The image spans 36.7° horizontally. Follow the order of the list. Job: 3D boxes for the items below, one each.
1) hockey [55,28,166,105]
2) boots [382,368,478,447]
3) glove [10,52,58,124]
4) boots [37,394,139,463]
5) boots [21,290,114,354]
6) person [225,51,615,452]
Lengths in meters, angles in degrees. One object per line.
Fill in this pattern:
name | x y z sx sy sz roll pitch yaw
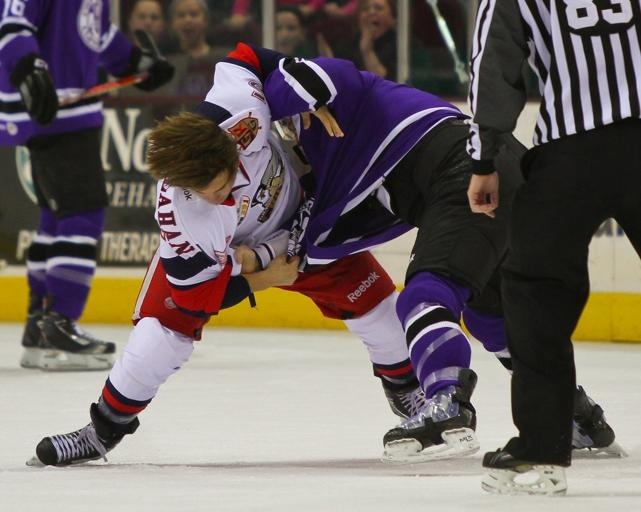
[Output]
hockey | -0.862 -0.754 4.099 0.467 0.241 0.196 -24 -22 -1
boots | 0.277 0.394 2.360 0.231 0.224 0.140 1 10 -6
glove | -1.037 -0.603 3.557 0.159 0.257 0.099 -37 -20 27
boots | -0.702 0.523 2.907 0.265 0.084 0.153 -14 -19 -30
boots | -1.104 0.315 4.385 0.552 0.313 0.186 3 4 3
person | 0.221 -0.070 2.728 1.197 1.152 0.605 0 -8 7
